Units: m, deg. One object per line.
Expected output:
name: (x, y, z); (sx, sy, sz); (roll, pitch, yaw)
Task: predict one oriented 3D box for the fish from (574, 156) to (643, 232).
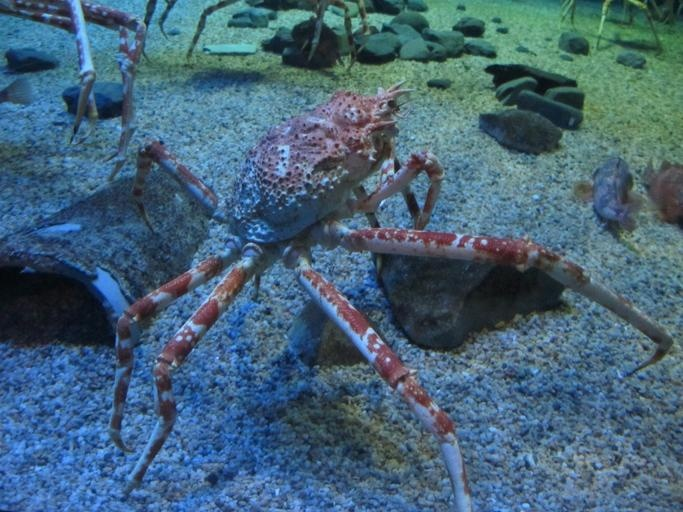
fish: (1.749, -0.405, 4.495); (0.310, 0.215, 0.564); (-23, 47, 31)
